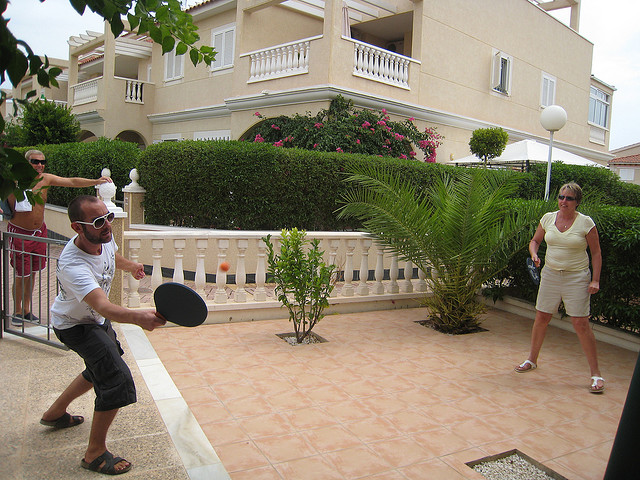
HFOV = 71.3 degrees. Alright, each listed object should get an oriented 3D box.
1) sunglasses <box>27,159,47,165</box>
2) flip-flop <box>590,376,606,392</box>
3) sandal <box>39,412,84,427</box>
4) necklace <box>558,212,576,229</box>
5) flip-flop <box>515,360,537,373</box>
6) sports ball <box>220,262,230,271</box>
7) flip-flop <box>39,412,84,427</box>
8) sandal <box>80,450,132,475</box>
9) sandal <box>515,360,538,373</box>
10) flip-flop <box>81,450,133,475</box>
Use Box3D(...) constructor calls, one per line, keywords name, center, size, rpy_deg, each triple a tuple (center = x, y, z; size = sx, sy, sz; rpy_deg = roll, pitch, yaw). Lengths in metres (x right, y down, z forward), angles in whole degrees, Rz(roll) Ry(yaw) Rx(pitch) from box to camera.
Box3D(name="sunglasses", center=(-3.835, -1.058, 6.004), size=(0.130, 0.068, 0.324), rpy_deg=(3, 8, -4))
Box3D(name="flip-flop", center=(3.372, 1.722, 5.382), size=(0.228, 0.165, 0.101), rpy_deg=(2, 8, -9))
Box3D(name="sandal", center=(-2.308, 1.574, 3.976), size=(0.313, 0.129, 0.125), rpy_deg=(2, 3, -28))
Box3D(name="necklace", center=(3.117, -0.257, 5.610), size=(0.135, 0.182, 0.042), rpy_deg=(28, 32, 27))
Box3D(name="flip-flop", center=(2.745, 1.625, 5.867), size=(0.346, 0.144, 0.118), rpy_deg=(0, 0, -23))
Box3D(name="sports ball", center=(-1.548, 0.437, 7.245), size=(0.143, 0.136, 0.254), rpy_deg=(1, 8, -15))
Box3D(name="flip-flop", center=(-2.306, 1.576, 3.979), size=(0.320, 0.134, 0.118), rpy_deg=(5, 3, -33))
Box3D(name="sandal", center=(-1.668, 1.711, 3.467), size=(0.314, 0.141, 0.169), rpy_deg=(2, -2, 10))
Box3D(name="sandal", center=(2.688, 1.632, 5.858), size=(0.348, 0.146, 0.119), rpy_deg=(-2, 0, -21))
Box3D(name="flip-flop", center=(-1.663, 1.681, 3.473), size=(0.319, 0.144, 0.172), rpy_deg=(6, 0, 13))
